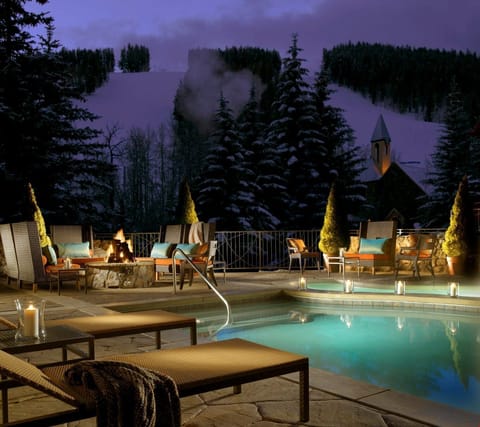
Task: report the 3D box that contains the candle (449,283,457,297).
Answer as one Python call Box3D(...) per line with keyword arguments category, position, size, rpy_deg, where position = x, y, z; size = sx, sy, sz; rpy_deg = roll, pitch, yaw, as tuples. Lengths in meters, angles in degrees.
Box3D(category="candle", position=(3.289, 1.160, 6.741), size=(0.110, 0.199, 0.212), rpy_deg=(1, 4, 23))

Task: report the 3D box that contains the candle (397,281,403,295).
Box3D(category="candle", position=(2.598, 1.187, 7.115), size=(0.094, 0.181, 0.256), rpy_deg=(1, 4, 23))

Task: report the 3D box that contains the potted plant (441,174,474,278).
Box3D(category="potted plant", position=(5.286, 0.296, 10.452), size=(0.673, 2.299, 0.730), rpy_deg=(3, 5, 44))

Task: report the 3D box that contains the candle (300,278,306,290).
Box3D(category="candle", position=(1.104, 1.219, 7.743), size=(0.127, 0.196, 0.127), rpy_deg=(1, 4, 29))

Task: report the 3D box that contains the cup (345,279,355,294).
Box3D(category="cup", position=(1.888, 1.231, 7.483), size=(0.185, 0.207, 0.182), rpy_deg=(0, -1, 0))

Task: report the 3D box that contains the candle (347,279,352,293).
Box3D(category="candle", position=(1.854, 1.220, 7.451), size=(0.134, 0.195, 0.290), rpy_deg=(0, 3, 13))

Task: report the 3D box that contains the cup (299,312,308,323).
Box3D(category="cup", position=(0.913, 1.474, 6.300), size=(0.081, 0.146, 0.081), rpy_deg=(4, -23, 2))

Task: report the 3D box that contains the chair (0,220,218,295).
Box3D(category="chair", position=(-2.602, 0.837, 8.525), size=(3.556, 1.566, 2.907), rpy_deg=(-3, 4, -29))

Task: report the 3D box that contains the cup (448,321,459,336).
Box3D(category="cup", position=(2.716, 1.432, 5.582), size=(0.140, 0.156, 0.138), rpy_deg=(0, -8, 0))

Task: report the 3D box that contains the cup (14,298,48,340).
Box3D(category="cup", position=(-1.171, 0.571, 2.497), size=(0.203, 0.268, 0.223), rpy_deg=(-1, -1, 0))
